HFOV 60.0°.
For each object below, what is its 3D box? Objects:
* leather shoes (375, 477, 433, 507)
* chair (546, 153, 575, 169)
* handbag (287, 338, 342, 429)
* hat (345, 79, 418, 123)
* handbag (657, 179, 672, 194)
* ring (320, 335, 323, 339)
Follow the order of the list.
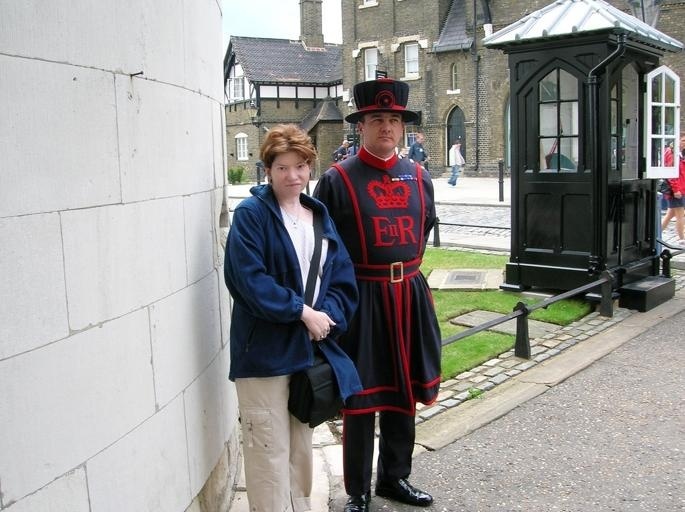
[{"bbox_3d":[0.364,1.407,3.596,0.374,0.160,0.130,0,0,28],"label":"leather shoes"},{"bbox_3d":[2.740,-1.179,7.455,0.180,0.142,0.258,-2,6,-18],"label":"chair"},{"bbox_3d":[-0.147,0.633,2.931,0.215,0.302,0.177,-7,23,-43],"label":"handbag"},{"bbox_3d":[0.240,-0.894,3.482,0.426,0.199,0.447,1,5,33],"label":"hat"},{"bbox_3d":[5.812,-1.223,10.665,0.185,0.287,0.426,3,12,28],"label":"handbag"},{"bbox_3d":[-0.098,0.391,2.870,0.019,0.007,0.028,-2,-1,-5],"label":"ring"}]
